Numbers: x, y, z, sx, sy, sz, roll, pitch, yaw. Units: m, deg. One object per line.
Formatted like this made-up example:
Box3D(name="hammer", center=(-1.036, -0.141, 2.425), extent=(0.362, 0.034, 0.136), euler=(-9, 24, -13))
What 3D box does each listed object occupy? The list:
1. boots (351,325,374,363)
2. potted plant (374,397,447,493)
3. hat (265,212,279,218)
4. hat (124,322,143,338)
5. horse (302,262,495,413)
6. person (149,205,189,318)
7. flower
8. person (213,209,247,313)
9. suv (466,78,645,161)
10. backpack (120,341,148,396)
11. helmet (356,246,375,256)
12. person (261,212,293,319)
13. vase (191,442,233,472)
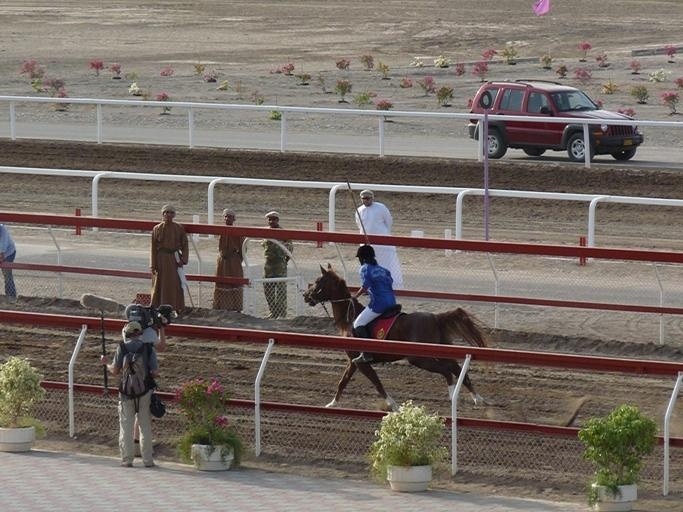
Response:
Box3D(name="boots", center=(0.291, 1.177, 21.779), extent=(0.284, 0.108, 0.464), euler=(-7, 19, 6))
Box3D(name="potted plant", center=(0.836, 2.439, 20.672), extent=(0.945, 0.980, 0.841), euler=(-3, -7, -14))
Box3D(name="hat", center=(-1.091, -0.653, 26.168), extent=(0.193, 0.083, 0.233), euler=(0, 3, -13))
Box3D(name="hat", center=(-2.644, 0.924, 20.895), extent=(0.229, 0.215, 0.139), euler=(-2, 4, -9))
Box3D(name="horse", center=(0.736, 1.087, 22.349), extent=(2.714, 1.896, 0.647), euler=(-2, 2, 26))
Box3D(name="person", center=(-2.624, 0.070, 25.096), extent=(0.595, 1.662, 0.432), euler=(-2, 4, -7))
Box3D(name="flower", center=(-1.758, 1.974, 20.890), extent=(0.673, 0.799, 0.361), euler=(-1, 4, 2))
Box3D(name="person", center=(-1.749, 0.077, 25.567), extent=(0.492, 1.574, 0.661), euler=(-1, 4, -5))
Box3D(name="suv", center=(4.349, -2.742, 33.615), extent=(3.341, 1.450, 1.764), euler=(5, 9, 31))
Box3D(name="backpack", center=(-2.638, 1.469, 20.897), extent=(0.413, 0.644, 0.343), euler=(-3, 13, -8))
Box3D(name="helmet", center=(0.332, -0.048, 22.312), extent=(0.178, 0.140, 0.161), euler=(6, 11, 16))
Box3D(name="person", center=(-0.994, 0.130, 25.521), extent=(0.429, 1.597, 0.834), euler=(-1, 4, -3))
Box3D(name="vase", center=(-1.626, 2.540, 20.764), extent=(0.386, 0.224, 0.401), euler=(2, 0, -9))
